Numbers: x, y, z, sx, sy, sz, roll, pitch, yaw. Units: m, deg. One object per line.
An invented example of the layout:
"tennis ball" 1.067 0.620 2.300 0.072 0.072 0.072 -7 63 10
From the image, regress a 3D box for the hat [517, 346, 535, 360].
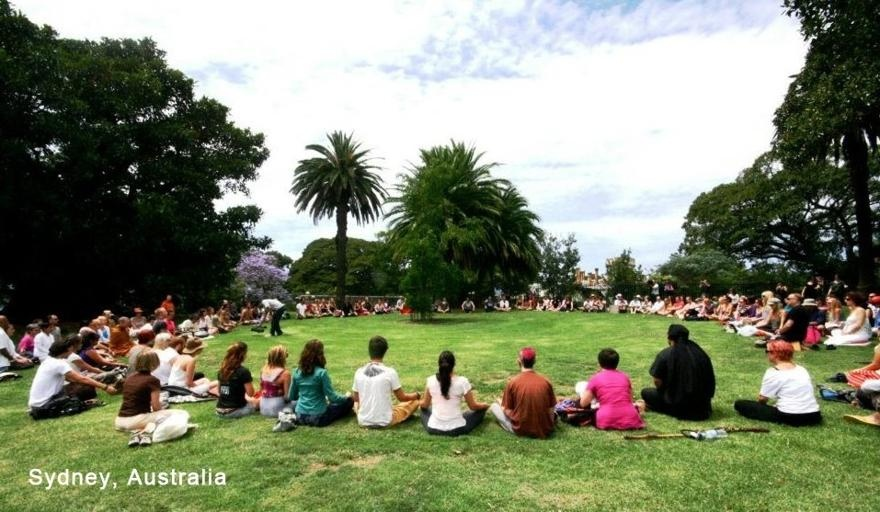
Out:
"hat" 2.639 2.951 15.979 0.352 0.369 0.413 4 4 7

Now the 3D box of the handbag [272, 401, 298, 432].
"handbag" -4.715 5.029 16.210 0.618 0.698 0.668 -3 -9 16

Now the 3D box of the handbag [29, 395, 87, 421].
"handbag" -12.262 4.923 16.934 0.883 0.359 1.029 -10 -10 35

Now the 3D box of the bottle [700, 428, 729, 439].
"bottle" 8.048 5.307 15.595 0.512 0.141 0.358 3 -13 -15

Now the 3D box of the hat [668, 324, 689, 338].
"hat" 7.417 2.344 16.500 0.564 0.409 0.329 -3 -9 13
